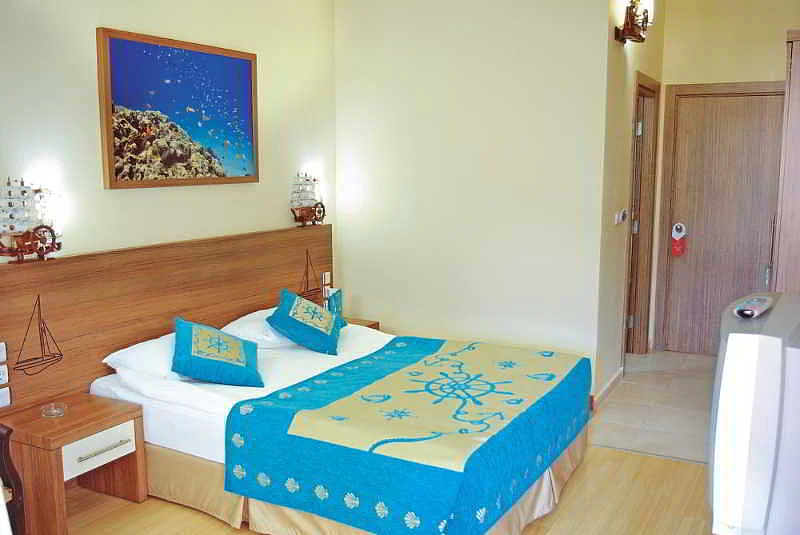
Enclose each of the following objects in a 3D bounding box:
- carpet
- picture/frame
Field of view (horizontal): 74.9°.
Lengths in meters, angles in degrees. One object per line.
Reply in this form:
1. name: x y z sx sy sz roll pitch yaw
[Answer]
1. carpet: 2.237 1.202 4.615 0.868 0.061 1.859 7 14 30
2. picture/frame: -1.685 -1.175 3.847 0.051 1.008 1.324 8 14 35
